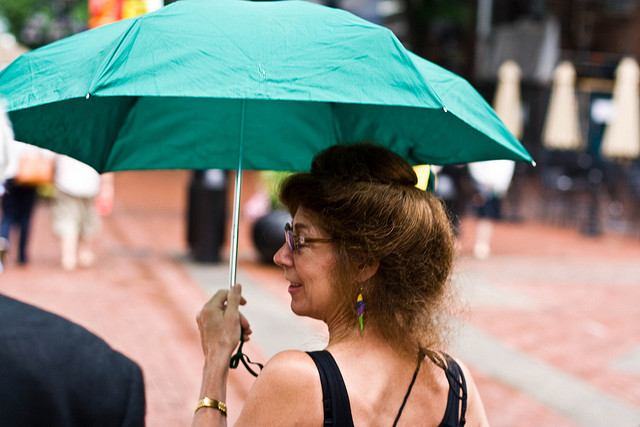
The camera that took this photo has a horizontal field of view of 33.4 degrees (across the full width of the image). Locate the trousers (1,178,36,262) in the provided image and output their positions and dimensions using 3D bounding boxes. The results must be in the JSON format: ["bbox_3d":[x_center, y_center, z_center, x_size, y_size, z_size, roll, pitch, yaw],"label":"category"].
[{"bbox_3d":[-3.682,0.075,13.144,0.354,0.995,3.152,1,3,-15],"label":"trousers"}]
